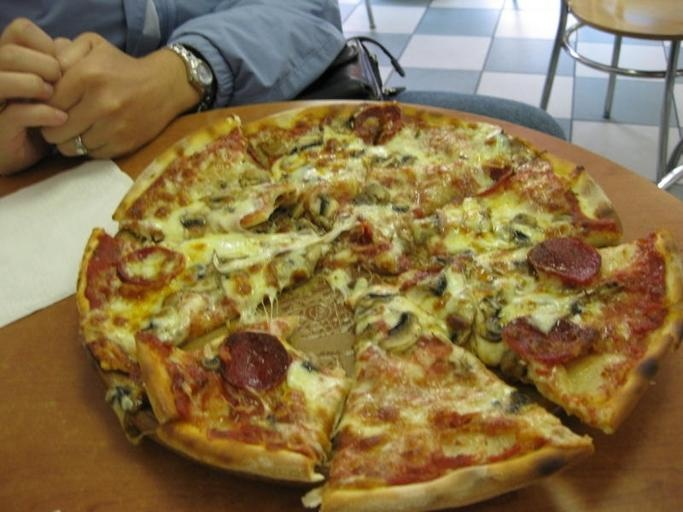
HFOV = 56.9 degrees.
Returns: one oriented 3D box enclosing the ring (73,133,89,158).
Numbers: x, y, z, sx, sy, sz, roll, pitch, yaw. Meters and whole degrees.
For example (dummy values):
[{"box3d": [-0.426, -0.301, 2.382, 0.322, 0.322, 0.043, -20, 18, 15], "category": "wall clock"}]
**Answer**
[{"box3d": [-0.673, -0.287, 1.625, 0.032, 0.014, 0.049, -3, 96, -15], "category": "ring"}]
